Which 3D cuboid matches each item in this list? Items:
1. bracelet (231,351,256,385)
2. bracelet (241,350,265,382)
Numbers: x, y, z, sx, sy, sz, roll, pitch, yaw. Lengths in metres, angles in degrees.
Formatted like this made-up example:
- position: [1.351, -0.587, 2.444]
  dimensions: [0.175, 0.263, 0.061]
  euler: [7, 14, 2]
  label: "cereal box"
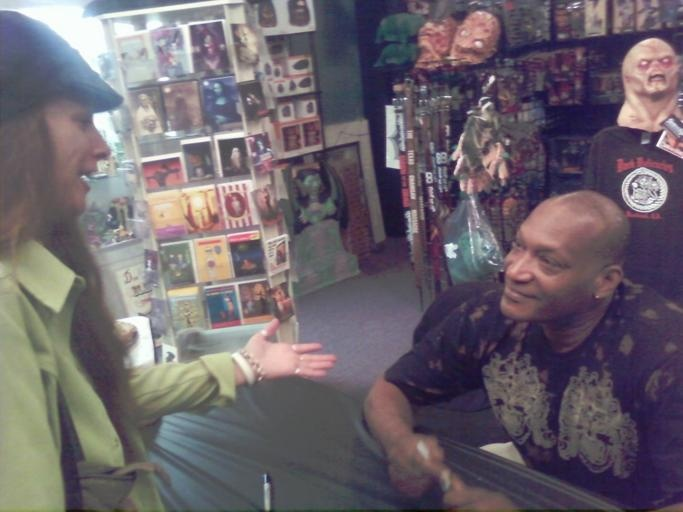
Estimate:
- position: [-0.230, 0.265, 1.365]
  dimensions: [0.025, 0.066, 0.060]
  euler: [-27, 12, -25]
  label: "bracelet"
- position: [-0.209, 0.264, 1.373]
  dimensions: [0.022, 0.055, 0.064]
  euler: [-31, 29, -18]
  label: "bracelet"
